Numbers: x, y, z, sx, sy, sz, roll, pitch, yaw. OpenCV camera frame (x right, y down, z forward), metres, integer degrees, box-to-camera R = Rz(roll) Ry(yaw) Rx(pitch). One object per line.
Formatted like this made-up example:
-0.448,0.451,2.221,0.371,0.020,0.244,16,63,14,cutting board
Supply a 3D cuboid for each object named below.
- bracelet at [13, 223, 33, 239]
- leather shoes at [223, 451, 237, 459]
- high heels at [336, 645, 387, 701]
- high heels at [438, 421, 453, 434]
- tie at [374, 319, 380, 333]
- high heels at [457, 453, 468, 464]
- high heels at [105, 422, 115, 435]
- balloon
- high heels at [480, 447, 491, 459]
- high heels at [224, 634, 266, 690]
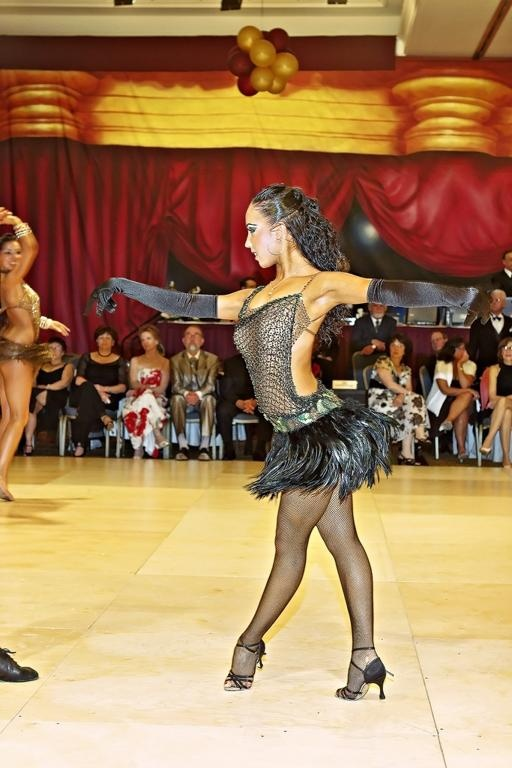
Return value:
-1.628,-1.087,4.546,0.129,0.116,0.110,-6,-8,28,bracelet
-0.313,0.795,7.225,0.128,0.071,0.123,0,-4,19,leather shoes
0.267,0.725,1.662,0.122,0.148,0.144,1,-3,8,high heels
2.143,0.483,7.350,0.129,0.058,0.206,-2,1,6,high heels
1.623,-0.781,8.678,0.048,0.190,0.055,-1,-5,7,tie
2.336,0.841,7.344,0.070,0.073,0.167,-3,-30,4,high heels
-1.656,0.507,7.298,0.094,0.105,0.273,4,-38,-12,high heels
0.051,-3.706,7.419,0.746,0.730,0.480,0,-3,28,balloon
2.456,0.731,6.960,0.094,0.105,0.260,1,-30,14,high heels
-0.017,0.740,1.729,0.068,0.084,0.208,-2,-5,9,high heels
